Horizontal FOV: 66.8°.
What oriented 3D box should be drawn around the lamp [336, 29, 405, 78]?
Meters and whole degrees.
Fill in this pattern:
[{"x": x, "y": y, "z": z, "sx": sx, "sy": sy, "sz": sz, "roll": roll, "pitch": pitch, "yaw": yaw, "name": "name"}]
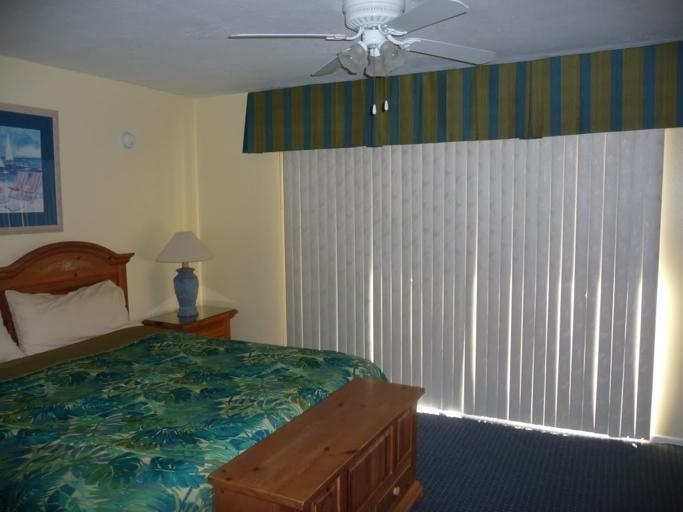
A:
[{"x": 0.161, "y": -1.169, "z": 3.002, "sx": 0.298, "sy": 0.159, "sz": 0.295, "roll": 3, "pitch": -3, "yaw": -37, "name": "lamp"}]
